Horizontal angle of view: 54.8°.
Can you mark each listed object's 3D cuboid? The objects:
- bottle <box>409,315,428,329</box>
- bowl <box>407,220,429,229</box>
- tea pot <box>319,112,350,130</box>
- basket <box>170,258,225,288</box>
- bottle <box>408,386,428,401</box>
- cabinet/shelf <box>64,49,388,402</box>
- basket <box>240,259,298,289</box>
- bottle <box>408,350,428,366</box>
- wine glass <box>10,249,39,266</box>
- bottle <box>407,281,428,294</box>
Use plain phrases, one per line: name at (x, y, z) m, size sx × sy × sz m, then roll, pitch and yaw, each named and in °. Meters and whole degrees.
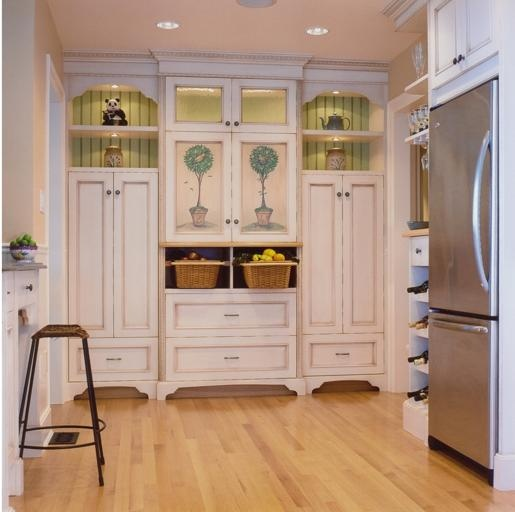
bottle at (0.950, 0.399, 2.924) m, size 0.081 × 0.023 × 0.083 m, roll -17°, pitch 8°, yaw 3°
bowl at (0.978, -0.181, 2.985) m, size 0.098 × 0.059 × 0.196 m, roll 0°, pitch -2°, yaw 0°
tea pot at (0.684, -1.160, 4.362) m, size 0.259 × 0.167 × 0.161 m, roll 2°, pitch 2°, yaw 8°
basket at (-0.456, 0.147, 3.881) m, size 0.416 × 0.227 × 0.134 m, roll 0°, pitch -3°, yaw -4°
bottle at (0.966, 0.839, 2.980) m, size 0.111 × 0.096 × 0.169 m, roll -1°, pitch -3°, yaw 20°
cabinet/shelf at (-0.229, -0.202, 4.241) m, size 2.791 × 2.616 × 0.714 m, roll 0°, pitch 0°, yaw -11°
basket at (0.097, 0.155, 3.906) m, size 0.430 × 0.215 × 0.185 m, roll 0°, pitch -3°, yaw 4°
bottle at (0.959, 0.612, 2.962) m, size 0.109 × 0.070 × 0.132 m, roll -1°, pitch -2°, yaw 16°
wine glass at (-1.067, 0.018, 2.264) m, size 0.096 × 0.059 × 0.094 m, roll 0°, pitch -1°, yaw -23°
bottle at (0.964, 0.192, 2.975) m, size 0.116 × 0.087 × 0.140 m, roll -1°, pitch -2°, yaw 16°
